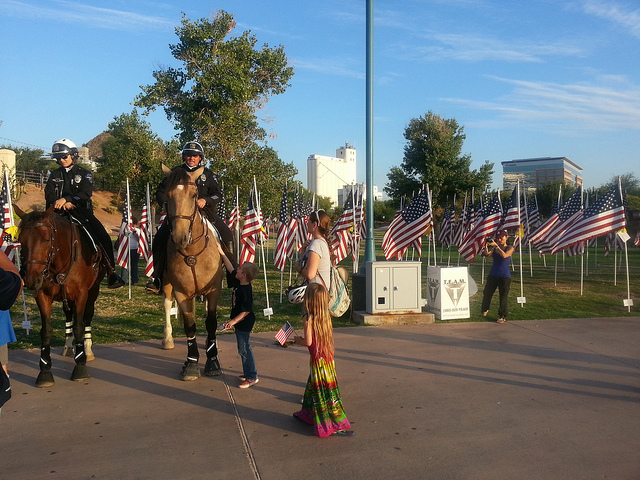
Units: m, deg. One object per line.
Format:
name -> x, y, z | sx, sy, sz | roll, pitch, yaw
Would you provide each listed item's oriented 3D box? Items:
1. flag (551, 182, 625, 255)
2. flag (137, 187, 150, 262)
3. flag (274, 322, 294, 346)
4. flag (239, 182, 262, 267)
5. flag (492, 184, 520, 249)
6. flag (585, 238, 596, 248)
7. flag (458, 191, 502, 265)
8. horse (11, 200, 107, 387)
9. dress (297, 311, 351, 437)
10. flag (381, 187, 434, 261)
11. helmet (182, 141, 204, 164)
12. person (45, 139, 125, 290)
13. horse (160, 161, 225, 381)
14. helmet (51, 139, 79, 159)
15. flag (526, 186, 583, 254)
flag -> 7.306, -0.633, 16.446 | 2.104, 1.669, 0.209 | -17, -31, 41
flag -> -6.064, -0.447, 20.219 | 0.367, 2.430, 2.105 | -2, 8, -17
flag -> -0.515, 1.303, 8.331 | 0.248, 0.331, 0.213 | -1, 8, -10
flag -> -1.899, -0.458, 15.466 | 0.569, 2.254, 0.420 | -3, 24, -28
flag -> 5.403, -0.918, 16.823 | 0.516, 1.316, 1.375 | 3, 8, 18
flag -> 14.824, 0.125, 32.512 | 0.285, 0.632, 0.412 | -24, 10, -9
flag -> 4.997, -0.434, 17.870 | 0.936, 2.387, 0.235 | 16, 35, 9
horse -> -4.442, 0.828, 10.135 | 1.112, 2.929, 2.121 | -2, 8, -16
dress -> 0.037, 1.797, 8.074 | 0.742, 1.645, 0.446 | 2, 8, 10
flag -> 2.435, -0.476, 16.543 | 1.297, 2.022, 0.746 | 1, 8, 7
helmet -> -2.280, -1.556, 10.464 | 0.343, 0.367, 0.581 | -2, 8, -13
person -> -4.606, -0.486, 11.148 | 1.083, 2.880, 0.915 | -5, 16, 3
horse -> -2.253, 0.485, 10.253 | 0.972, 3.571, 2.326 | -2, 8, -16
helmet -> -4.702, -1.664, 10.807 | 0.422, 0.312, 0.453 | -3, 8, -24
flag -> 9.216, -0.873, 21.954 | 1.577, 0.365, 3.569 | 24, 62, 30
